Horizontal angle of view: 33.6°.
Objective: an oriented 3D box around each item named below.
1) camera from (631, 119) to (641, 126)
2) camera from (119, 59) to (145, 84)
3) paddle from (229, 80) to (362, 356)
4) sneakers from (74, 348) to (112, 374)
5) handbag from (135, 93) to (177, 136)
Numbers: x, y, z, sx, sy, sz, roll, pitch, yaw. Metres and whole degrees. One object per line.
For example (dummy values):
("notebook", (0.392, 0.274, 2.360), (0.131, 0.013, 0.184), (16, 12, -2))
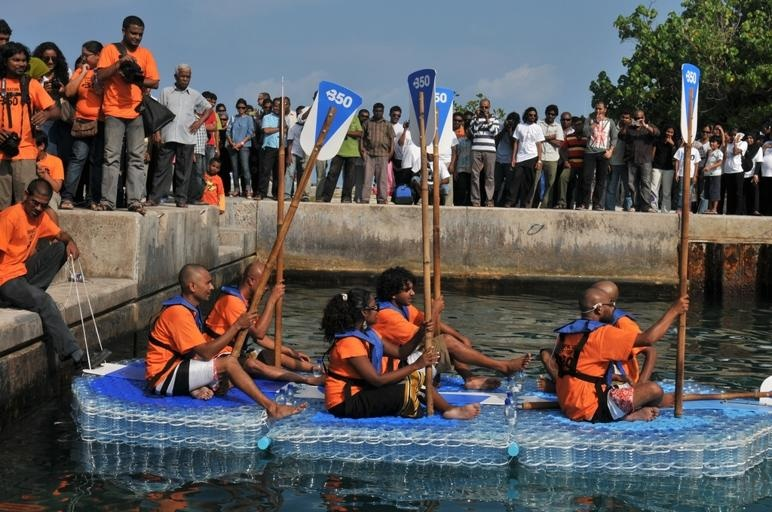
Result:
("camera", (4.719, -2.479, 23.803), (0.062, 0.122, 0.166), (20, -4, -32))
("camera", (-3.594, -2.624, 18.085), (0.335, 0.330, 0.249), (12, 9, 39))
("paddle", (-1.188, -0.454, 15.925), (0.544, 3.726, 0.157), (20, -6, 10))
("sneakers", (-3.727, 1.356, 16.174), (0.520, 0.200, 0.290), (-21, 27, 12))
("handbag", (-3.362, -2.099, 18.724), (0.475, 0.612, 0.278), (0, 2, -6))
